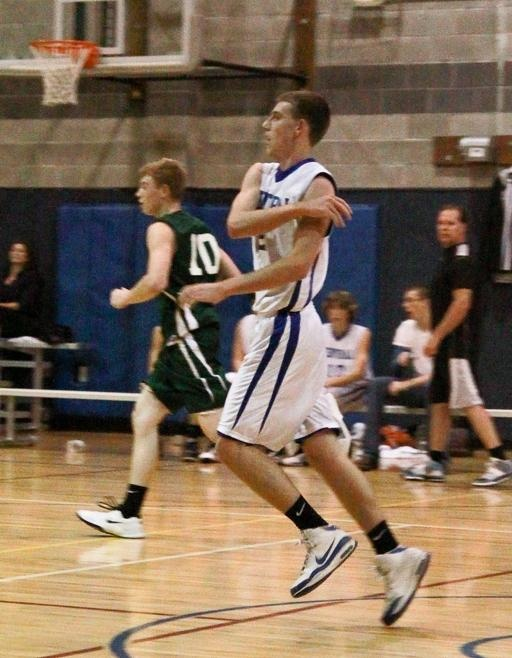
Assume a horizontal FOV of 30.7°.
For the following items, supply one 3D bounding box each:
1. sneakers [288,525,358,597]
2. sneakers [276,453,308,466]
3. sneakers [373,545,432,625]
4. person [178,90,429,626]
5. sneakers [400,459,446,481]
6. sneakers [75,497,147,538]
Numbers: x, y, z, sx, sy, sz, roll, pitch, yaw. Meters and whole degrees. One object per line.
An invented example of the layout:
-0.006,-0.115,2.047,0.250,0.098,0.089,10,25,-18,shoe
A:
0.172,0.587,2.362,0.148,0.164,0.116,3,3,7,sneakers
0.274,0.938,6.711,0.275,0.097,0.083,4,-12,3,sneakers
0.357,0.630,2.325,0.126,0.173,0.245,4,3,23,sneakers
0.123,0.027,2.431,0.599,1.376,0.626,2,3,-19,person
1.050,0.882,5.833,0.288,0.106,0.116,1,1,2,sneakers
-0.554,0.749,3.696,0.293,0.114,0.097,15,-23,0,sneakers
